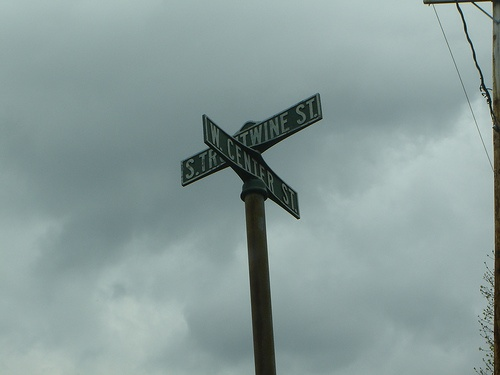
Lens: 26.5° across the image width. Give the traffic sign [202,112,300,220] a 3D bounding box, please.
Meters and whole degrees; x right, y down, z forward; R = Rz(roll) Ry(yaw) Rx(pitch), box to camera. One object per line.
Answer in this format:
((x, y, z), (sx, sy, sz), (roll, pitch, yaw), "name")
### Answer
((-0.202, -0.992, 24.262), (2.778, 1.141, 0.365), (-26, -41, 19), "traffic sign")
